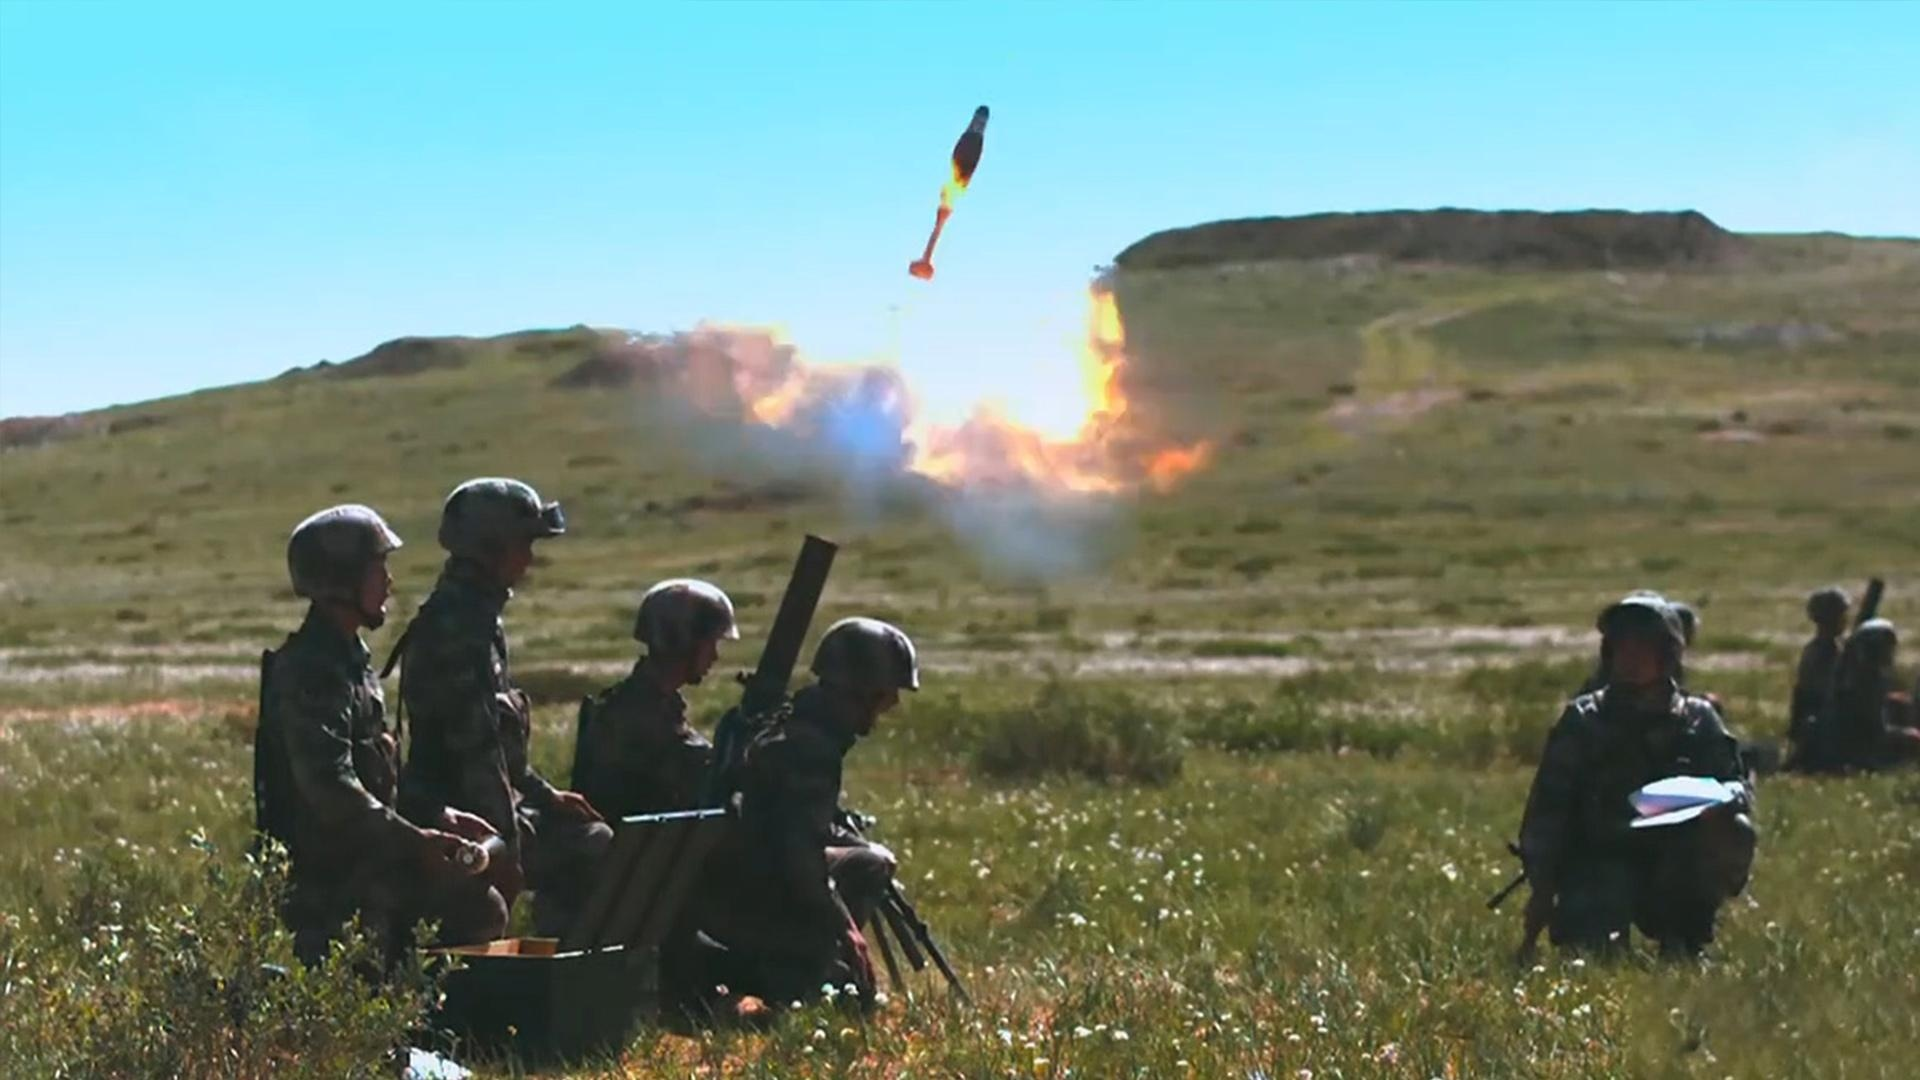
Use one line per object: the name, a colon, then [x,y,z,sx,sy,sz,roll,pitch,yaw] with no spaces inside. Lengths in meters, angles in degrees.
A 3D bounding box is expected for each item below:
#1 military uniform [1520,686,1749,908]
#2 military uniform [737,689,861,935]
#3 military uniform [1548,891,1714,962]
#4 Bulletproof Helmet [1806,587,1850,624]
military uniform: [8.597,3.301,30.373,2.760,2.526,1.428,3,12,14]
military uniform: [-2.016,3.275,29.413,1.368,3.050,0.552,1,9,-4]
military uniform: [8.556,4.824,30.423,2.176,0.767,0.169,6,-3,-2]
Bulletproof Helmet: [14.144,0.972,38.943,0.614,0.682,0.721,1,12,25]
